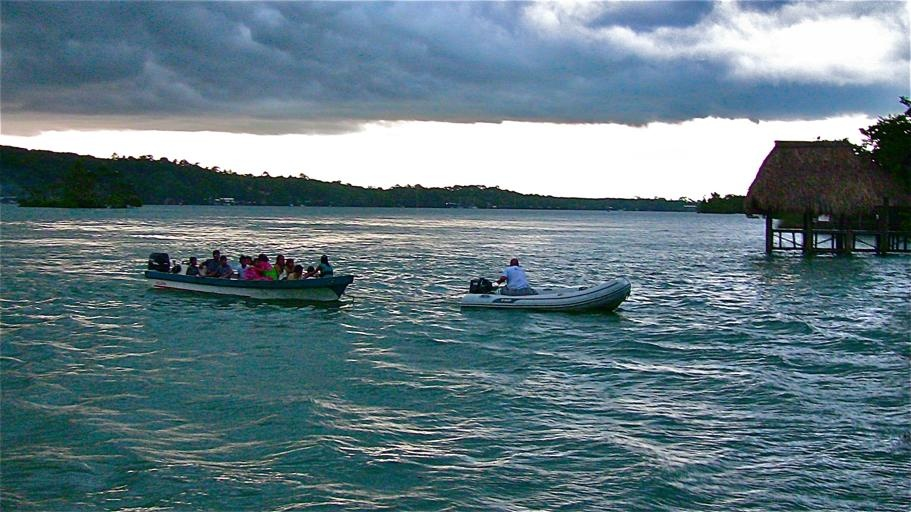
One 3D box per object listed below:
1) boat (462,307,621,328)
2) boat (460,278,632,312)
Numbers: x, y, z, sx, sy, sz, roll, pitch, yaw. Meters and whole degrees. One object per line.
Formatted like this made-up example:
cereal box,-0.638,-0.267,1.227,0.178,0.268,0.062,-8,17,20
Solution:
boat,4.026,2.787,42.042,7.059,0.823,2.509,2,-1,10
boat,4.475,1.798,42.783,7.064,1.463,0.753,2,-1,1
